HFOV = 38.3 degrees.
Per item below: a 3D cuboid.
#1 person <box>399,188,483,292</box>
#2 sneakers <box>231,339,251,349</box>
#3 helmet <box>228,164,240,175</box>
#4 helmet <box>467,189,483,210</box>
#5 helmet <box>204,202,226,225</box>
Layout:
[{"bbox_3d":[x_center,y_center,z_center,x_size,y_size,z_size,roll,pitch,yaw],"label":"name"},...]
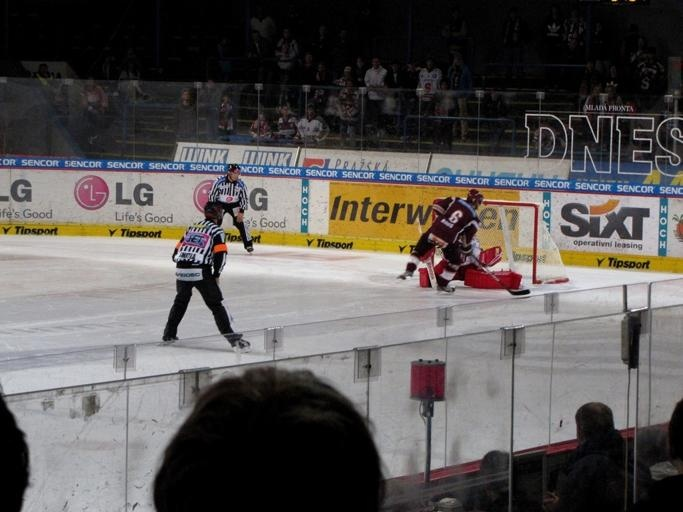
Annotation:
[{"bbox_3d":[1.592,-0.187,15.213,0.990,1.454,0.571,3,5,31],"label":"person"},{"bbox_3d":[-0.766,0.680,7.523,0.126,0.059,0.070,-5,12,-24],"label":"sneakers"},{"bbox_3d":[-1.965,-1.608,17.956,0.212,0.215,0.175,8,-3,-40],"label":"helmet"},{"bbox_3d":[2.048,-0.906,15.299,0.228,0.269,0.289,10,14,37],"label":"helmet"},{"bbox_3d":[-1.472,-0.507,11.550,0.229,0.277,0.296,2,8,8],"label":"helmet"}]
